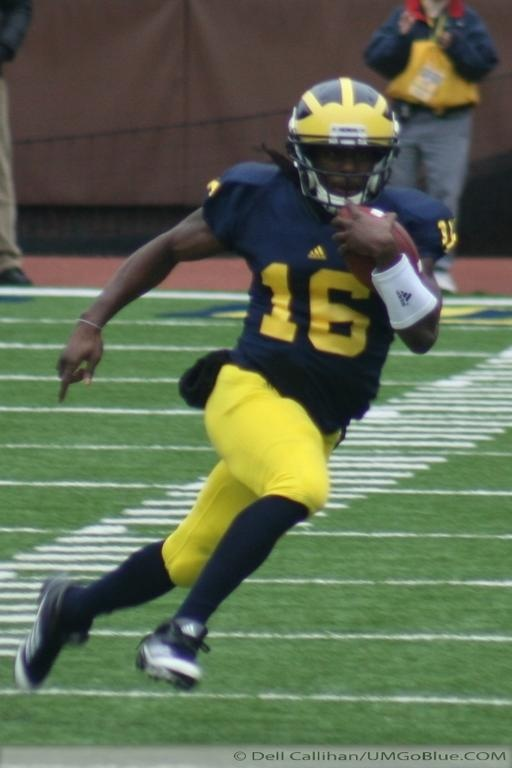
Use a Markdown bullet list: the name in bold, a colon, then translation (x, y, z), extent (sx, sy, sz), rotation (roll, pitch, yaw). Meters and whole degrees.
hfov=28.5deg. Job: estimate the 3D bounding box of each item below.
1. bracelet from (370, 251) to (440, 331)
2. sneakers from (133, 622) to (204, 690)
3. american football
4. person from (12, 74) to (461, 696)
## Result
- **bracelet**: translation (0.295, -0.187, 2.011), extent (0.132, 0.151, 0.106), rotation (-41, 18, -3)
- **sneakers**: translation (-0.142, 0.461, 1.726), extent (0.080, 0.067, 0.167), rotation (27, -7, -12)
- **american football**: translation (0.223, -0.276, 2.079), extent (0.176, 0.151, 0.175), rotation (-1, 29, -15)
- **person**: translation (-0.089, -0.017, 2.205), extent (0.794, 1.238, 0.968), rotation (-3, 7, -44)
